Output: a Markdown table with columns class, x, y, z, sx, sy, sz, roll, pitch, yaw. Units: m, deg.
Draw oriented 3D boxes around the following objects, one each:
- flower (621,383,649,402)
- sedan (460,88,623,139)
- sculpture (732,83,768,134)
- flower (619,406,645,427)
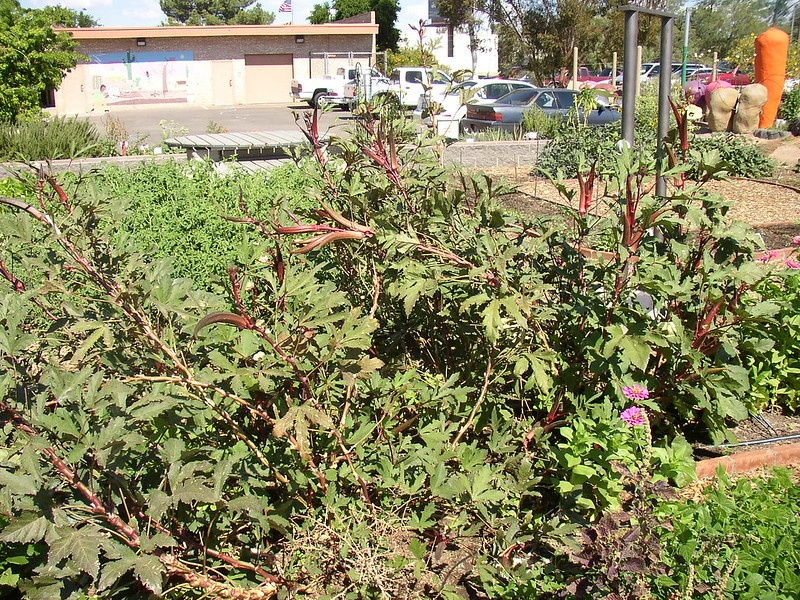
| class | x | y | z | sx | sy | sz | roll | pitch | yaw |
| --- | --- | --- | --- | --- | --- | --- | --- | --- | --- |
| flower | 1.255 | 0.487 | 3.333 | 0.101 | 0.051 | 0.103 | 2 | 33 | 5 |
| sedan | 3.589 | -5.110 | 17.025 | 3.726 | 1.064 | 2.371 | -1 | 22 | 1 |
| sculpture | 9.353 | -5.118 | 16.876 | 0.691 | 1.276 | 0.903 | 9 | 24 | 25 |
| flower | 1.170 | 0.586 | 3.165 | 0.112 | 0.050 | 0.114 | 0 | 57 | 25 |
